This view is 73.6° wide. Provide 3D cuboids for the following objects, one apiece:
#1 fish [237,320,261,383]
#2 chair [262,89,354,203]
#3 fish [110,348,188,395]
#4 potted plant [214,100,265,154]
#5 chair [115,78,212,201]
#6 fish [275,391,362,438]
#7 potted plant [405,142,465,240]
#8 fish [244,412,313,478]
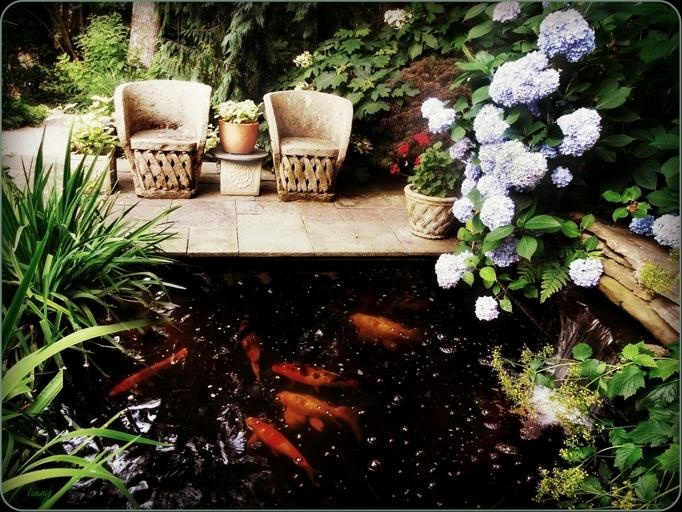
[{"bbox_3d":[-0.562,0.536,2.617,0.089,0.160,0.421,-2,19,-12],"label":"fish"},{"bbox_3d":[-0.360,-1.171,4.672,0.905,0.902,0.912,-7,32,-21],"label":"chair"},{"bbox_3d":[-1.003,0.628,2.489,0.444,0.066,0.113,-25,56,-38],"label":"fish"},{"bbox_3d":[-0.985,-1.326,4.711,0.637,0.524,0.531,0,17,-6],"label":"potted plant"},{"bbox_3d":[-1.693,-1.158,4.412,0.805,1.003,0.812,1,28,-16],"label":"chair"},{"bbox_3d":[-0.115,0.789,2.307,0.497,0.174,0.137,8,17,27],"label":"fish"},{"bbox_3d":[0.794,-0.534,3.886,0.472,0.632,0.480,11,17,28],"label":"potted plant"},{"bbox_3d":[-0.321,0.895,2.197,0.353,0.095,0.151,35,48,18],"label":"fish"}]
